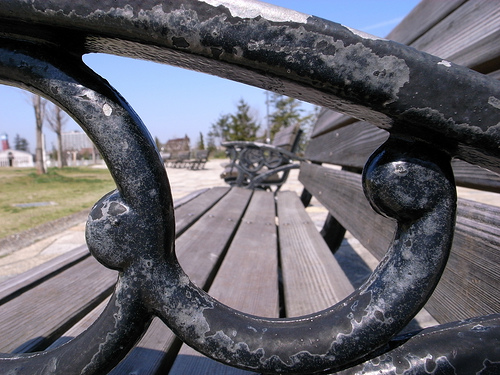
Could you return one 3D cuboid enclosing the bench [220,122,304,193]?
[{"bbox_3d":[0.207,-0.268,4.141,0.694,0.840,1.247,11,6,10],"label":"bench"}]
